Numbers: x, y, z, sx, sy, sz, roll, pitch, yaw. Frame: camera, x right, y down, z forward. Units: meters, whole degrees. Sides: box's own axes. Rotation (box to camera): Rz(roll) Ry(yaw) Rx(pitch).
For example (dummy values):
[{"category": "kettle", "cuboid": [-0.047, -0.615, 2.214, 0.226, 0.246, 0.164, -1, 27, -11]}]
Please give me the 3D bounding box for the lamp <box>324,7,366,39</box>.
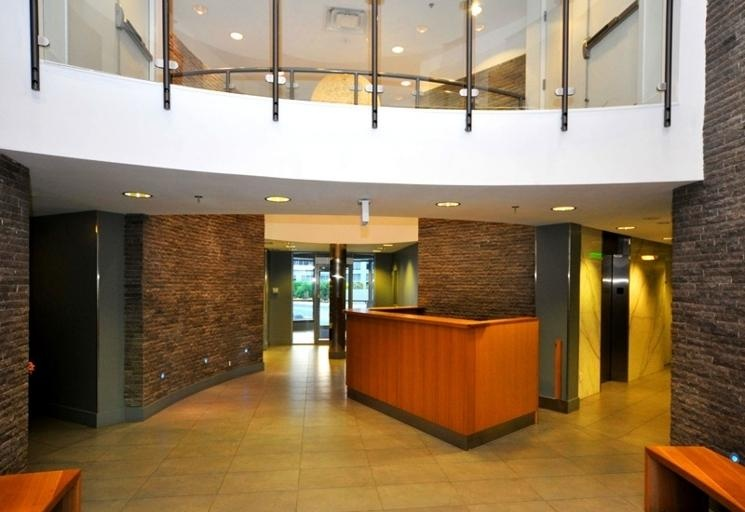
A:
[{"category": "lamp", "cuboid": [-0.410, -3.669, 8.701, 0.728, 0.416, 0.187, 4, 8, 24]}]
